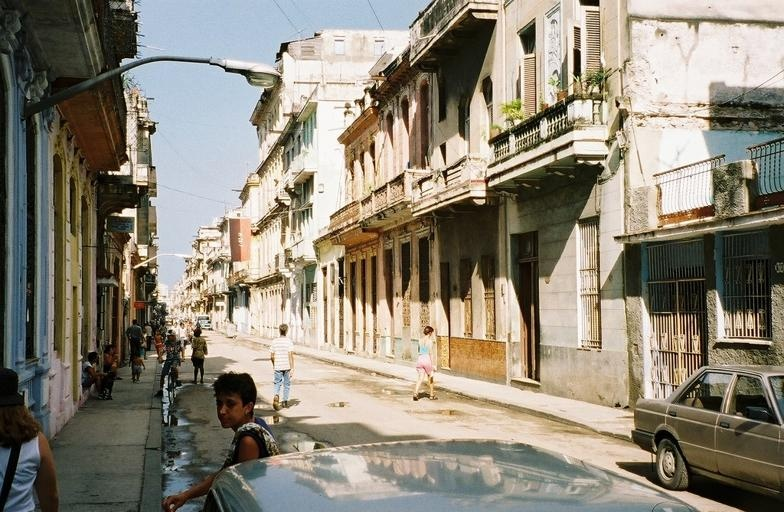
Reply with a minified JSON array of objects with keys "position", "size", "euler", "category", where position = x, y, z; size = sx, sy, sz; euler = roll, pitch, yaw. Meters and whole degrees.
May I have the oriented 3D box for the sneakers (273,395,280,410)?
[{"position":[-2.978,3.752,21.168],"size":[0.153,0.205,0.463],"euler":[10,-43,-2],"category":"sneakers"}]
